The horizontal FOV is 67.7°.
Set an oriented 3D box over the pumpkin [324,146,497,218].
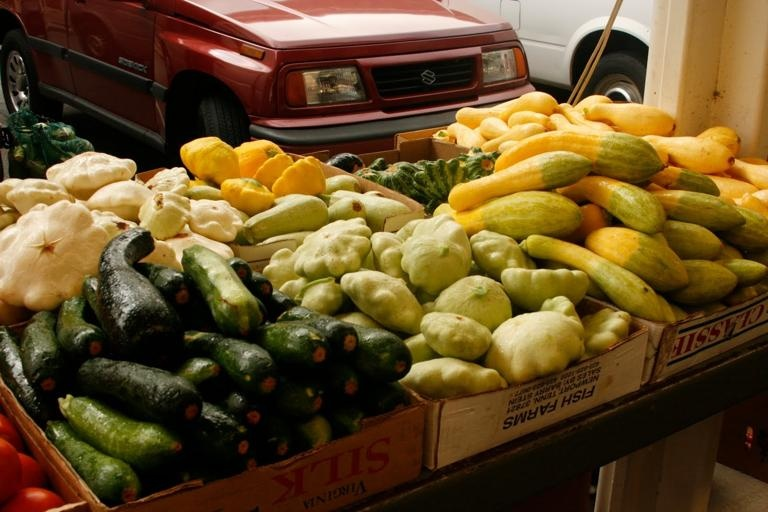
[{"bbox_3d":[0.186,-0.429,3.673,0.911,0.445,1.049,1,14,32],"label":"pumpkin"}]
